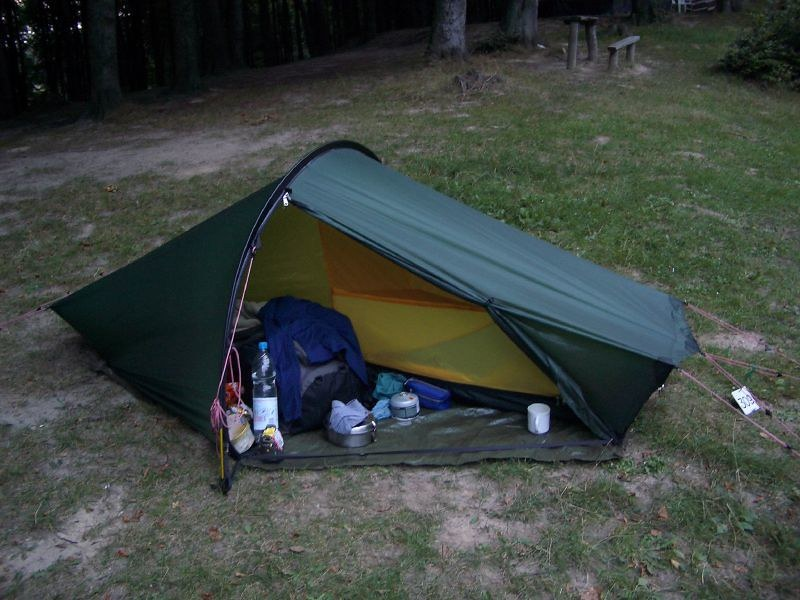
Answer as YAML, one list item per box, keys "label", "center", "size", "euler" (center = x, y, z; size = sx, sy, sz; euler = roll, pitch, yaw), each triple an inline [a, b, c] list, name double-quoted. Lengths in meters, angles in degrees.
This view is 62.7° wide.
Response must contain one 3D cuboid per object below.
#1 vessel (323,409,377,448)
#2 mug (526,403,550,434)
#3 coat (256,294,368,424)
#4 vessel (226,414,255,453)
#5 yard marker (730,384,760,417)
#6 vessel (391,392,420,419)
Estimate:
- label: "vessel"
  center: [-0.411, 1.121, 5.731]
  size: [0.280, 0.117, 0.279]
  euler: [2, 13, 10]
- label: "mug"
  center: [1.242, 1.030, 5.812]
  size: [0.206, 0.234, 0.221]
  euler: [3, 9, 25]
- label: "coat"
  center: [-0.873, 0.413, 6.178]
  size: [0.865, 0.413, 1.143]
  euler: [-5, 40, -14]
- label: "vessel"
  center: [-1.368, 1.124, 5.621]
  size: [0.226, 0.309, 0.227]
  euler: [-11, 28, -22]
- label: "yard marker"
  center: [3.136, 0.915, 5.998]
  size: [0.193, 0.073, 0.247]
  euler: [-27, 67, -5]
- label: "vessel"
  center: [0.051, 0.975, 6.118]
  size: [0.217, 0.145, 0.224]
  euler: [-1, 8, -13]
